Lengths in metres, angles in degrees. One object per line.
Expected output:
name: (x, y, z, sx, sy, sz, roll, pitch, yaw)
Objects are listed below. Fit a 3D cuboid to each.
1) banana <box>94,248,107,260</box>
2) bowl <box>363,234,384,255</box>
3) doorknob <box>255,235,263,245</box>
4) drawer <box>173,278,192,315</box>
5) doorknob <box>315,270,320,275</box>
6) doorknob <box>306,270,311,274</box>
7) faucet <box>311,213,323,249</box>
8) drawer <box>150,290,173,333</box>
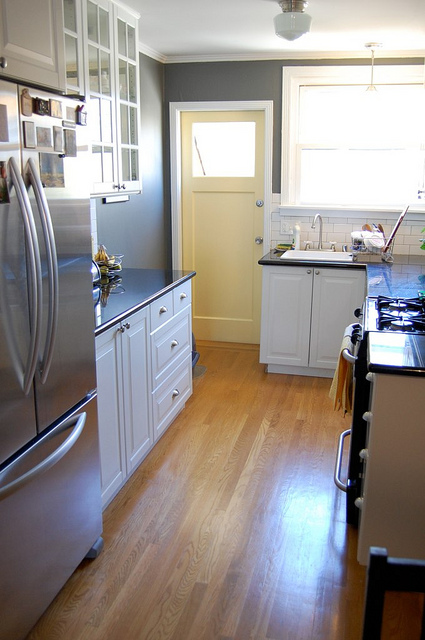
banana: (-0.678, -0.400, 2.781, 0.054, 0.071, 0.059, 2, 11, 15)
bowl: (1.312, -0.629, 3.777, 0.154, 0.149, 0.111, 6, 12, 25)
doorknob: (0.434, -0.776, 4.448, 0.067, 0.079, 0.017, 10, 6, 33)
drawer: (-0.199, -0.163, 3.034, 0.150, 0.133, 0.252, 3, 18, 12)
doorknob: (0.839, -0.383, 3.682, 0.026, 0.031, 0.016, -11, 6, 9)
doorknob: (0.769, -0.392, 3.714, 0.020, 0.022, 0.025, -29, -13, -4)
faucet: (0.919, -0.791, 4.094, 0.103, 0.323, 0.414, 2, 11, 12)
drawer: (-0.286, -0.069, 2.641, 0.243, 0.162, 0.046, -16, 17, -39)
